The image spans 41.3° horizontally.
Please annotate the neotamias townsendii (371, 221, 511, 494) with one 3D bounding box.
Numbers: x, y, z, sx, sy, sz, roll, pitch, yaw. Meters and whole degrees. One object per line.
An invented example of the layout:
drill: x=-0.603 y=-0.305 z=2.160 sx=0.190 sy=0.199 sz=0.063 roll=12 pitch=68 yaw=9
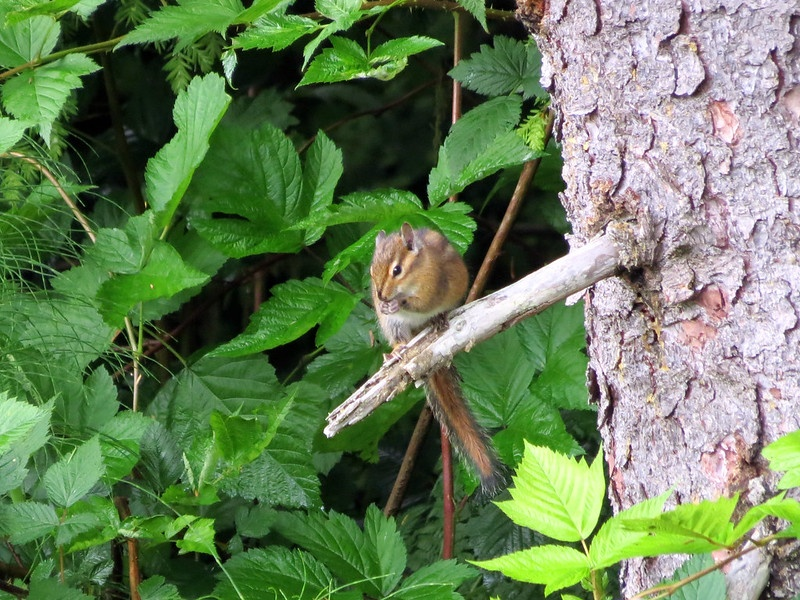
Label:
neotamias townsendii: x=0.118 y=0.141 z=4.124 sx=0.418 sy=0.762 sz=1.062 roll=-5 pitch=28 yaw=-4
